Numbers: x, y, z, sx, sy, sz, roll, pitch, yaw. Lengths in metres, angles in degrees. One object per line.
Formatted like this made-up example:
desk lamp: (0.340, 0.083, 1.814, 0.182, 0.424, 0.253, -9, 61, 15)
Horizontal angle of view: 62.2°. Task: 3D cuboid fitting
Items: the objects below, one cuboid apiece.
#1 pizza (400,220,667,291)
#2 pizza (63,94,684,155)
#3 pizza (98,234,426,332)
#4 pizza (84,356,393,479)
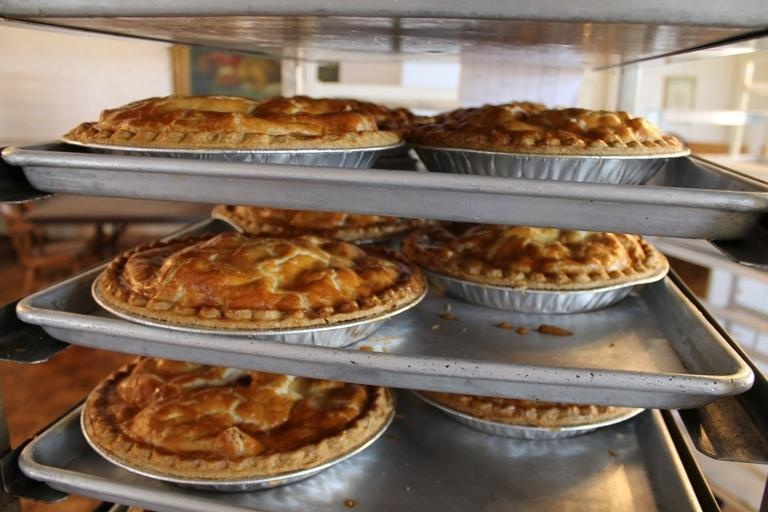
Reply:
pizza: (0.319, -0.017, 1.430, 0.601, 0.110, 0.269, 5, 19, 15)
pizza: (-0.024, -0.280, 1.333, 1.207, 0.112, 0.419, -2, 17, -7)
pizza: (-0.252, 0.033, 1.277, 0.671, 0.129, 0.323, 0, 18, 1)
pizza: (-0.264, 0.310, 1.215, 0.401, 0.054, 0.330, -2, 10, -28)
